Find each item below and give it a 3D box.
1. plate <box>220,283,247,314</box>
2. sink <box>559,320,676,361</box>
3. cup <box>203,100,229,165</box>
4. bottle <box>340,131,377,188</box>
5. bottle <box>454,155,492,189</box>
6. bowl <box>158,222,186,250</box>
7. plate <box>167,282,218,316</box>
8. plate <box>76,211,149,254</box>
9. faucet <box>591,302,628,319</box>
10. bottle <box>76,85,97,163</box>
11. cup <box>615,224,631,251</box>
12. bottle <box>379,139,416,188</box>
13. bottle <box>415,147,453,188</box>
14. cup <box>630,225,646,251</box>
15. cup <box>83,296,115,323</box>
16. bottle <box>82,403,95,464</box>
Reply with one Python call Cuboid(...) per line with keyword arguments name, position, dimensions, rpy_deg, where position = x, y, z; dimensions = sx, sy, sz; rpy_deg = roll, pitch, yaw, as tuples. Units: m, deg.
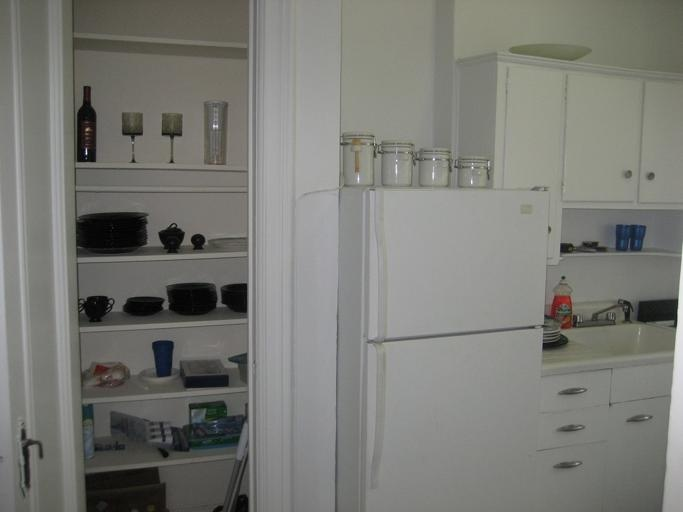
Cuboid(name="plate", position=(-0.600, 0.234, 3.244), dimensions=(0.145, 0.098, 0.148), rpy_deg=(-1, 5, -23))
Cuboid(name="sink", position=(1.687, 0.495, 3.423), dimensions=(0.363, 0.091, 0.257), rpy_deg=(-6, 14, -23))
Cuboid(name="cup", position=(-0.695, -0.676, 3.189), dimensions=(0.139, 0.336, 0.073), rpy_deg=(-4, 6, -13))
Cuboid(name="bottle", position=(0.080, -0.460, 2.808), dimensions=(0.218, 0.288, 0.222), rpy_deg=(0, 0, 0))
Cuboid(name="bottle", position=(0.664, -0.421, 2.907), dimensions=(0.178, 0.152, 0.129), rpy_deg=(-3, 6, -2))
Cuboid(name="bowl", position=(-0.920, -0.105, 3.138), dimensions=(0.141, 0.145, 0.127), rpy_deg=(-2, -3, 38))
Cuboid(name="plate", position=(-0.829, 0.234, 3.195), dimensions=(0.195, 0.126, 0.193), rpy_deg=(-7, 11, -44))
Cuboid(name="plate", position=(-1.212, -0.124, 3.042), dimensions=(0.249, 0.116, 0.230), rpy_deg=(-1, 5, 10))
Cuboid(name="faucet", position=(1.708, 0.351, 3.691), dimensions=(0.276, 0.110, 0.092), rpy_deg=(-7, 7, -27))
Cuboid(name="bottle", position=(-1.344, -0.689, 3.029), dimensions=(0.105, 0.393, 0.081), rpy_deg=(-6, 7, -24))
Cuboid(name="cup", position=(1.761, -0.113, 3.616), dimensions=(0.096, 0.159, 0.063), rpy_deg=(-3, 6, -1))
Cuboid(name="bottle", position=(0.268, -0.462, 2.919), dimensions=(0.196, 0.209, 0.199), rpy_deg=(-2, 4, -33))
Cuboid(name="bottle", position=(0.455, -0.432, 2.855), dimensions=(0.171, 0.177, 0.178), rpy_deg=(1, 4, 18))
Cuboid(name="cup", position=(1.849, -0.112, 3.621), dimensions=(0.131, 0.161, 0.074), rpy_deg=(-6, 7, -28))
Cuboid(name="cup", position=(-1.290, 0.273, 3.064), dimensions=(0.190, 0.138, 0.121), rpy_deg=(2, -2, -20))
Cuboid(name="bottle", position=(-1.346, 0.921, 3.086), dimensions=(0.045, 0.293, 0.206), rpy_deg=(-5, 6, -15))
